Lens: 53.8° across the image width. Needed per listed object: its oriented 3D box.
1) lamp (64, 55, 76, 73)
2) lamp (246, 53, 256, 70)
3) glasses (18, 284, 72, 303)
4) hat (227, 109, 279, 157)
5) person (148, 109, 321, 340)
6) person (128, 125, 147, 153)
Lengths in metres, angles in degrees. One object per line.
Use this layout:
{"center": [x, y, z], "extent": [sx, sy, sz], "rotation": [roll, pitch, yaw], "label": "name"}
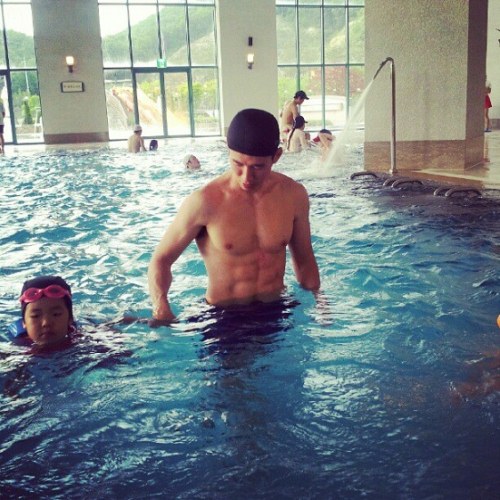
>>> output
{"center": [-5.468, -5.645, 14.885], "extent": [0.287, 0.511, 0.176], "rotation": [-7, 10, -17], "label": "lamp"}
{"center": [-0.001, -6.037, 15.677], "extent": [0.263, 0.505, 0.206], "rotation": [-4, 10, 1], "label": "lamp"}
{"center": [-0.916, 0.192, 2.199], "extent": [0.210, 0.078, 0.112], "rotation": [-7, 10, -26], "label": "glasses"}
{"center": [-0.004, -0.480, 2.025], "extent": [0.234, 0.153, 0.220], "rotation": [3, 19, -9], "label": "hat"}
{"center": [-0.046, -0.135, 2.200], "extent": [0.859, 0.949, 0.471], "rotation": [-5, 10, -12], "label": "person"}
{"center": [-2.687, -2.590, 11.455], "extent": [0.389, 0.672, 0.921], "rotation": [-6, 9, -12], "label": "person"}
